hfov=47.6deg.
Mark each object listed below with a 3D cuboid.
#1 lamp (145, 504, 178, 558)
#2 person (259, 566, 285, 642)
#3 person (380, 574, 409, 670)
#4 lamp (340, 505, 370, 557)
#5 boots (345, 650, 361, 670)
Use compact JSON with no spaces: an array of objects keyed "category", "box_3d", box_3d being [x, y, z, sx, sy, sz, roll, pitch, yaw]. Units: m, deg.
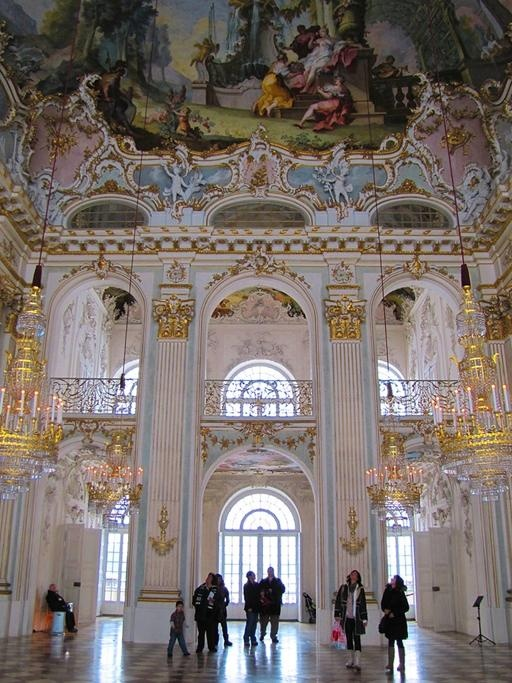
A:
[{"category":"lamp","box_3d":[-1.745,3.564,10.774,0.826,1.171,0.326,-2,-18,5]},{"category":"person","box_3d":[0.268,4.901,10.905,0.472,1.240,0.398,0,-14,6]},{"category":"person","box_3d":[1.660,3.412,7.004,0.347,1.054,0.810,-4,-21,11]},{"category":"lamp","box_3d":[1.792,3.521,10.717,0.479,0.830,0.116,-1,-21,5]},{"category":"boots","box_3d":[1.229,4.045,7.373,0.194,0.238,0.584,-2,-24,3]}]
